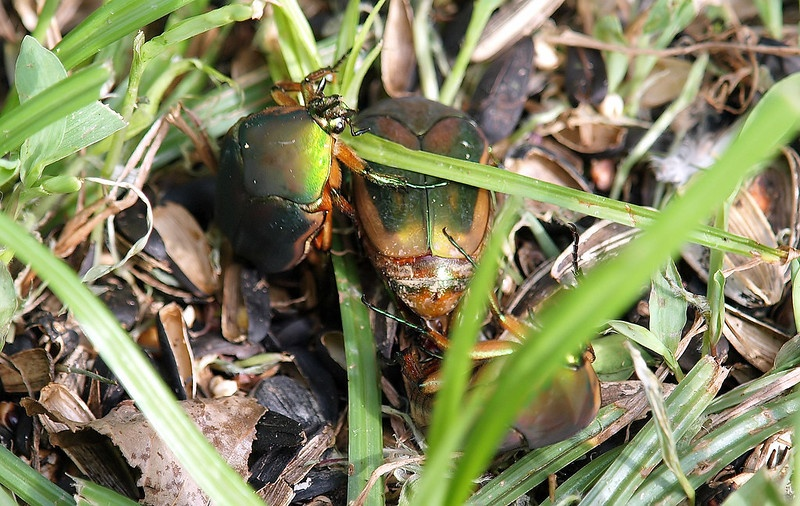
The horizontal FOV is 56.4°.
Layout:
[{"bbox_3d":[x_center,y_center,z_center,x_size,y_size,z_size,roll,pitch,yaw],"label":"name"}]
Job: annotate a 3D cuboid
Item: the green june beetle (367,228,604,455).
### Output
[{"bbox_3d":[0.134,0.157,1.097,0.301,0.097,0.341,-8,79,-20],"label":"green june beetle"}]
